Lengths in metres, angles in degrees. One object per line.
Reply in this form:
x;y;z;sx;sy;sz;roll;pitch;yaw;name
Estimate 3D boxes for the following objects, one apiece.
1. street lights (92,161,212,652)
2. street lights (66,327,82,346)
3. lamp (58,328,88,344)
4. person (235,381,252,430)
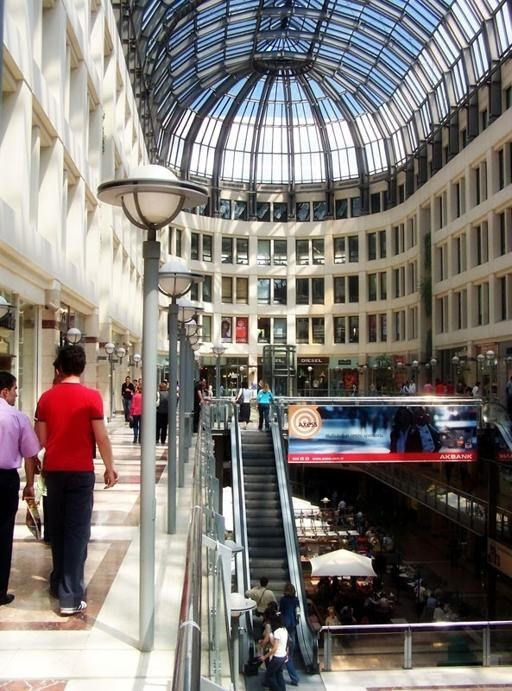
-0.709;0.337;4.126;0.708;3.110;0.592;0;-4;8;street lights
-5.060;-0.253;16.907;0.432;0.675;0.487;-1;-7;6;street lights
-5.106;-0.227;17.378;0.633;0.603;0.647;6;-6;-33;lamp
-0.492;2.422;24.428;0.473;1.561;1.725;0;-4;-3;person
